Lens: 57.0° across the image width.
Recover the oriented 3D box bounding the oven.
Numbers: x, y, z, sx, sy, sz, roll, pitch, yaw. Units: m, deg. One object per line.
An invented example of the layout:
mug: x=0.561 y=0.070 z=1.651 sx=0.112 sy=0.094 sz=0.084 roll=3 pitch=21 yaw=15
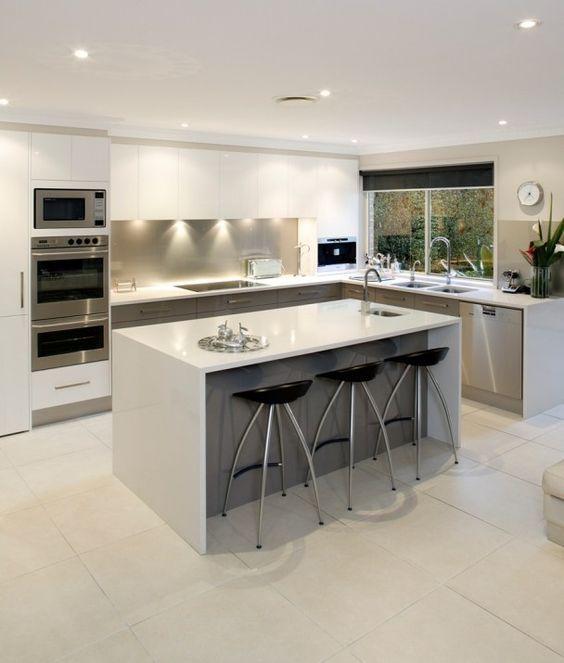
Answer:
oven: x=-1.830 y=-0.180 z=4.684 sx=0.774 sy=1.152 sz=0.846 roll=-7 pitch=-8 yaw=4

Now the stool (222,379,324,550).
stool: x=0.038 y=0.629 z=2.914 sx=0.729 sy=0.803 sz=0.486 roll=-6 pitch=10 yaw=-35

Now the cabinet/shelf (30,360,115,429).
cabinet/shelf: x=-1.821 y=0.511 z=4.454 sx=0.532 sy=0.406 sz=0.523 roll=-4 pitch=7 yaw=-38

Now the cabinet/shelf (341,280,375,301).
cabinet/shelf: x=0.884 y=-0.474 z=6.065 sx=0.248 sy=0.344 sz=0.364 roll=-2 pitch=5 yaw=-30
